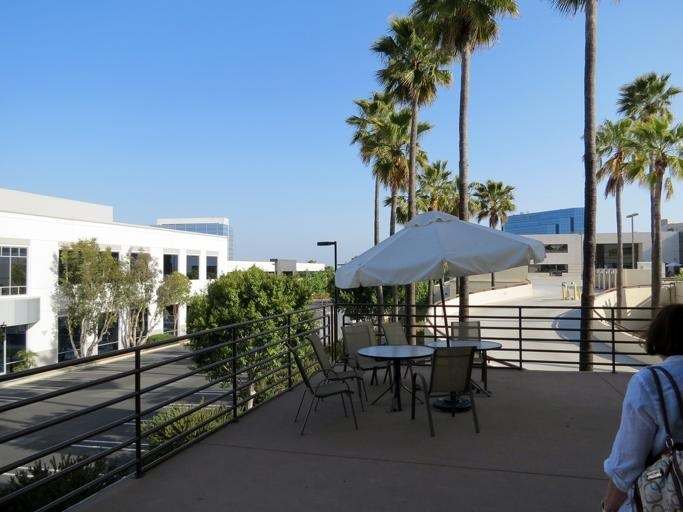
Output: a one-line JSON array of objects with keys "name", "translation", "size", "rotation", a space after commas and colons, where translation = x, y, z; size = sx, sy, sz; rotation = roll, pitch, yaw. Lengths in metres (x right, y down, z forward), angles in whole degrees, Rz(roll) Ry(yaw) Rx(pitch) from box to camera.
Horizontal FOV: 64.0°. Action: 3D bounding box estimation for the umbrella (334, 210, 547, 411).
[{"name": "umbrella", "translation": [1.733, 0.708, 9.242], "size": [2.276, 1.828, 2.447], "rotation": [-12, 4, 3]}]
